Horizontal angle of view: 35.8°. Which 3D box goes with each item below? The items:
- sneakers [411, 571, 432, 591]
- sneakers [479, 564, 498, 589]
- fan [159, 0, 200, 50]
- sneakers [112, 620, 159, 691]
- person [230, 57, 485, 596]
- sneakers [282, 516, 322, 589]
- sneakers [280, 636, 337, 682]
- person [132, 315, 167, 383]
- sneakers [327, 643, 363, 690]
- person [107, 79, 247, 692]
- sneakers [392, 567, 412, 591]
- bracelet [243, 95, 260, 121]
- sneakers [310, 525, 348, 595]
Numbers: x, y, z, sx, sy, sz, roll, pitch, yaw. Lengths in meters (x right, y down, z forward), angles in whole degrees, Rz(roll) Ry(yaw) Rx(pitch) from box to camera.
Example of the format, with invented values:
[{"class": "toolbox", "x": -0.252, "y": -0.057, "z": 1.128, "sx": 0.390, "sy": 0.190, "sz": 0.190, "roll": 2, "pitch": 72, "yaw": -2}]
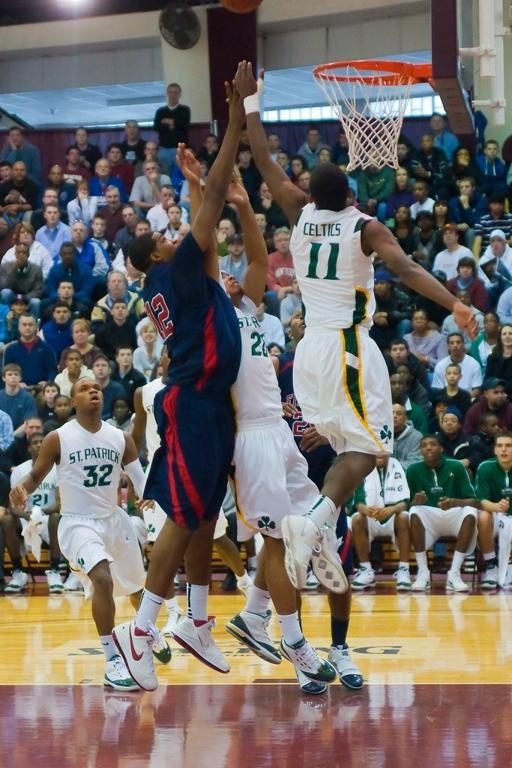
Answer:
[{"class": "sneakers", "x": 1.270, "y": 1.522, "z": 6.102, "sx": 0.105, "sy": 0.130, "sz": 0.296, "roll": -1, "pitch": -11, "yaw": 13}, {"class": "sneakers", "x": 1.778, "y": 1.475, "z": 6.061, "sx": 0.106, "sy": 0.128, "sz": 0.313, "roll": -3, "pitch": -16, "yaw": 13}, {"class": "fan", "x": -1.331, "y": -6.093, "z": 13.511, "sx": 0.757, "sy": 0.774, "sz": 0.263, "roll": -7, "pitch": -12, "yaw": 26}, {"class": "sneakers", "x": -0.423, "y": 0.923, "z": 2.697, "sx": 0.118, "sy": 0.227, "sz": 0.222, "roll": 5, "pitch": -13, "yaw": -32}, {"class": "person", "x": 0.282, "y": -0.277, "z": 2.738, "sx": 0.702, "sy": 1.889, "sz": 0.541, "roll": -5, "pitch": -11, "yaw": 16}, {"class": "sneakers", "x": 0.141, "y": 0.519, "z": 2.524, "sx": 0.124, "sy": 0.251, "sz": 0.087, "roll": -8, "pitch": -11, "yaw": -8}, {"class": "sneakers", "x": 0.179, "y": 0.980, "z": 2.819, "sx": 0.205, "sy": 0.161, "sz": 0.134, "roll": 4, "pitch": -12, "yaw": -28}, {"class": "person", "x": -1.167, "y": -0.372, "z": 8.458, "sx": 0.404, "sy": 0.902, "sz": 0.413, "roll": 1, "pitch": 6, "yaw": -4}, {"class": "sneakers", "x": 0.329, "y": 1.037, "z": 2.921, "sx": 0.074, "sy": 0.082, "sz": 0.201, "roll": 0, "pitch": 10, "yaw": -20}, {"class": "person", "x": -0.276, "y": -0.043, "z": 2.800, "sx": 0.451, "sy": 2.155, "sz": 0.682, "roll": 0, "pitch": -11, "yaw": -10}, {"class": "sneakers", "x": 1.137, "y": 1.527, "z": 6.188, "sx": 0.139, "sy": 0.160, "sz": 0.385, "roll": 0, "pitch": -12, "yaw": 4}, {"class": "bracelet", "x": -0.031, "y": -1.042, "z": 3.001, "sx": 0.081, "sy": 0.083, "sz": 0.084, "roll": 11, "pitch": 26, "yaw": 28}, {"class": "sneakers", "x": 0.250, "y": 0.605, "z": 2.658, "sx": 0.097, "sy": 0.282, "sz": 0.120, "roll": -12, "pitch": 38, "yaw": 19}]
